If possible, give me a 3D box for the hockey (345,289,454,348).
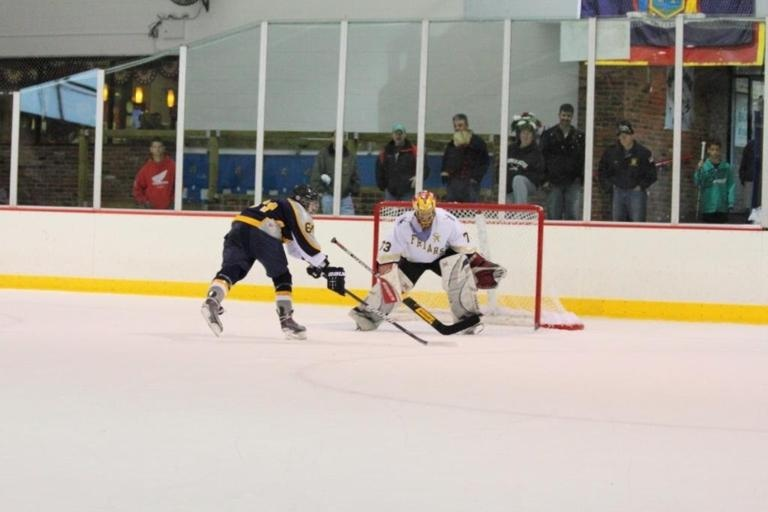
[{"bbox_3d":[0.142,0.579,9.953,0.964,0.097,0.139,30,-14,48],"label":"hockey"}]

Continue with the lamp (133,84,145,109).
[{"bbox_3d":[-2.649,-1.726,11.829,0.162,0.318,0.173,-4,11,-17],"label":"lamp"}]

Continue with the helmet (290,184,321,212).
[{"bbox_3d":[-0.690,-0.526,9.847,0.275,0.245,0.220,12,6,-15],"label":"helmet"}]

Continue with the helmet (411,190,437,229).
[{"bbox_3d":[0.358,-0.434,9.840,0.212,0.306,0.304,-3,8,1],"label":"helmet"}]

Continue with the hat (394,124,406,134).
[{"bbox_3d":[0.152,-1.328,11.426,0.079,0.055,0.109,2,-20,2],"label":"hat"}]

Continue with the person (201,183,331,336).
[{"bbox_3d":[-1.071,0.061,10.365,1.139,1.281,0.376,28,-43,-17],"label":"person"}]

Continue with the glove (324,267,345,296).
[{"bbox_3d":[-0.411,0.206,9.651,0.222,0.230,0.091,9,27,19],"label":"glove"}]
